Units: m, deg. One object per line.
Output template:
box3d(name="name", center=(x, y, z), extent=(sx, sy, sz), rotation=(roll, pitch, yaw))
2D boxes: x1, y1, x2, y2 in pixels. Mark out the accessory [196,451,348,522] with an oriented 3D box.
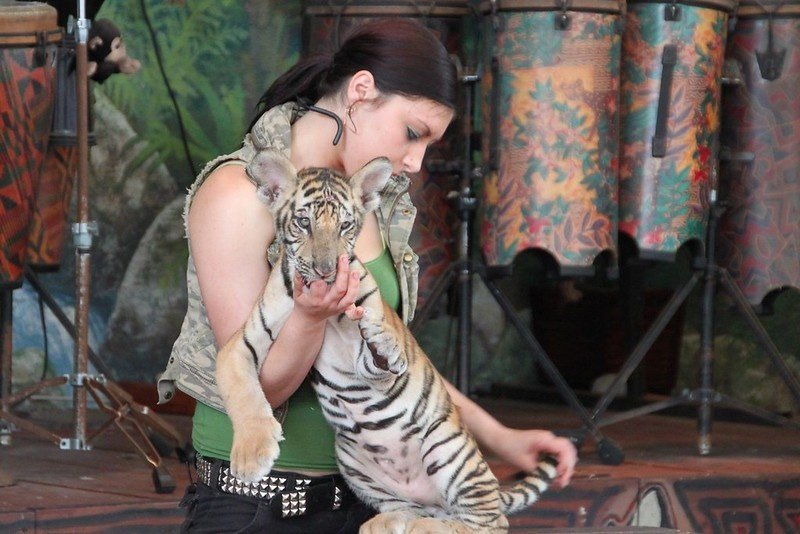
box3d(name="accessory", center=(-0.477, 0.865, 4.930), extent=(0.347, 0.106, 0.293), rotation=(23, -16, -41))
